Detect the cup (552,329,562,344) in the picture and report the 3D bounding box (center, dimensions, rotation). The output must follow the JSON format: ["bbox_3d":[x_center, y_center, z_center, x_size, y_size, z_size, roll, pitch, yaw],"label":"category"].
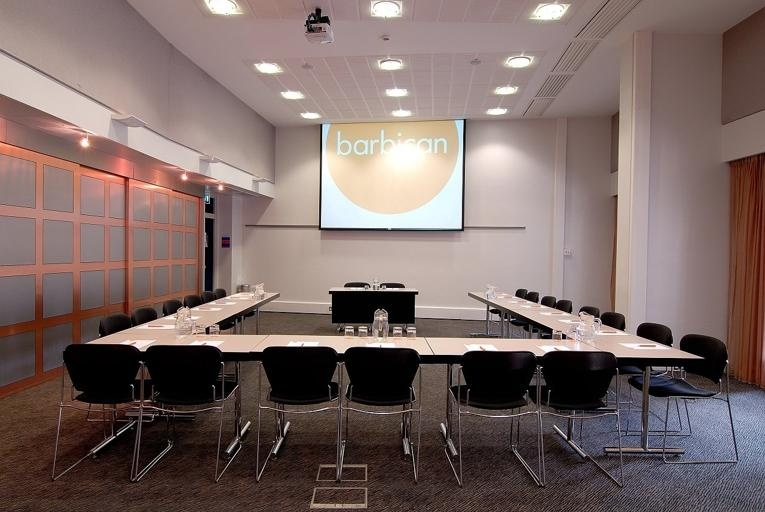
[{"bbox_3d":[2.127,1.025,6.217,0.122,0.178,0.121,-1,-2,0],"label":"cup"}]

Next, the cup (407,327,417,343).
[{"bbox_3d":[0.342,0.966,6.151,0.133,0.234,0.137,0,-4,0],"label":"cup"}]

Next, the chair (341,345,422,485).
[{"bbox_3d":[0.034,1.622,5.943,1.062,1.839,1.321,1,1,2],"label":"chair"}]

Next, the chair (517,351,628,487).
[{"bbox_3d":[2.133,1.754,5.900,0.986,1.575,1.139,0,6,3],"label":"chair"}]

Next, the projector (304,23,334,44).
[{"bbox_3d":[-0.938,-3.278,7.361,0.337,0.166,0.262,0,1,13],"label":"projector"}]

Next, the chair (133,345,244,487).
[{"bbox_3d":[-2.148,1.547,5.496,1.005,1.605,1.622,1,3,-3],"label":"chair"}]

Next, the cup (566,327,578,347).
[{"bbox_3d":[2.358,1.028,6.197,0.164,0.322,0.177,0,-2,0],"label":"cup"}]

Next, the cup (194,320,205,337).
[{"bbox_3d":[-2.307,0.929,6.352,0.125,0.229,0.212,2,-9,-11],"label":"cup"}]
